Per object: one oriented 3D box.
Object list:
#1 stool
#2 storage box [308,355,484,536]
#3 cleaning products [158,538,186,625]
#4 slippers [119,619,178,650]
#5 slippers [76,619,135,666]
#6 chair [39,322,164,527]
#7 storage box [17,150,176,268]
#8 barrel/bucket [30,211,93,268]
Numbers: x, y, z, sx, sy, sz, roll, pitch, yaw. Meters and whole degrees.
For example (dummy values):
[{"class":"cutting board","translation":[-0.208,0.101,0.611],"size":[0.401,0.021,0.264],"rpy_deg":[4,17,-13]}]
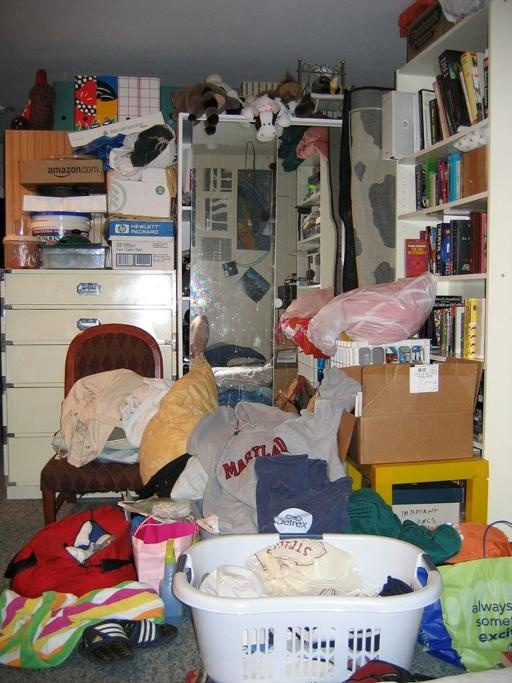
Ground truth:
[{"class":"stool","translation":[0.570,0.438,1.899],"size":[0.289,0.224,0.296],"rpy_deg":[0,0,-5]},{"class":"storage box","translation":[0.354,0.309,1.948],"size":[0.457,0.706,0.519],"rpy_deg":[0,6,-2]},{"class":"cleaning products","translation":[-0.243,0.690,1.652],"size":[0.063,0.254,0.088],"rpy_deg":[-1,4,1]},{"class":"slippers","translation":[-0.287,0.777,1.544],"size":[0.163,0.057,0.059],"rpy_deg":[10,39,-43]},{"class":"slippers","translation":[-0.383,0.766,1.489],"size":[0.128,0.074,0.088],"rpy_deg":[-2,4,-16]},{"class":"chair","translation":[-0.627,0.362,2.492],"size":[0.475,0.847,0.689],"rpy_deg":[-1,4,-10]},{"class":"storage box","translation":[-0.795,-0.658,3.008],"size":[0.777,0.581,0.353],"rpy_deg":[-1,4,-5]},{"class":"barrel/bucket","translation":[-0.988,-0.541,2.959],"size":[0.316,0.303,0.322],"rpy_deg":[0,3,0]}]
